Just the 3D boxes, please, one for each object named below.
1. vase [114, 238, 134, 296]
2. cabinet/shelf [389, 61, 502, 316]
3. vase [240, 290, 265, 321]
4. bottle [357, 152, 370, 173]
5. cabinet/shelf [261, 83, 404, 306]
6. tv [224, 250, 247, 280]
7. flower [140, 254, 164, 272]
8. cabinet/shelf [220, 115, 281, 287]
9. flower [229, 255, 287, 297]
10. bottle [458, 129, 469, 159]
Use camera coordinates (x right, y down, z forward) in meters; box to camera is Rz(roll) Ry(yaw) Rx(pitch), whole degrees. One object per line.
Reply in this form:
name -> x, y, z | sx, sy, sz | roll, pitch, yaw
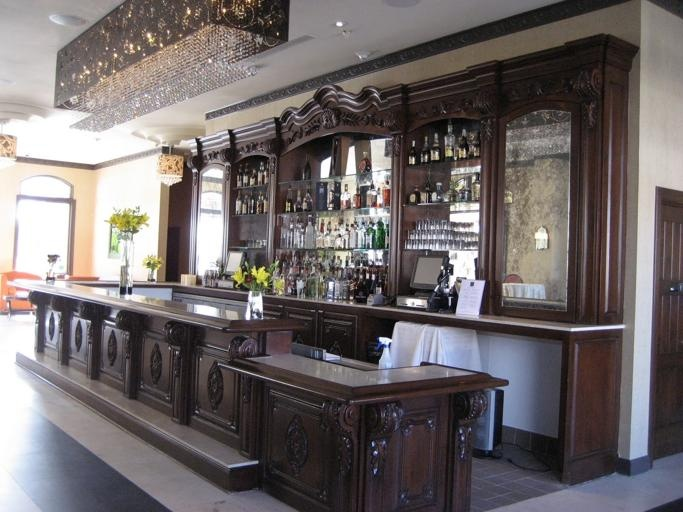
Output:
vase -> -2.664, 0.105, 6.566 | 0.147, 0.701, 0.340 | 0, 2, -24
cabinet/shelf -> 1.182, -0.483, 5.873 | 1.244, 2.849, 0.715 | -5, -20, 32
vase -> -0.752, 0.417, 4.507 | 0.225, 0.416, 0.256 | 0, -2, -10
bottle -> 0.308, -1.214, 6.961 | 0.081, 0.289, 0.233 | -1, 2, -41
cabinet/shelf -> -0.069, -0.723, 7.181 | 2.119, 3.046, 0.539 | 10, 12, 40
tv -> -1.538, 0.145, 7.706 | 0.332, 0.416, 0.230 | 2, -27, 42
flower -> -3.660, 0.142, 10.319 | 0.395, 0.488, 0.438 | -1, 4, -7
cabinet/shelf -> -1.397, -0.740, 8.362 | 1.007, 2.267, 0.450 | -2, -7, 25
flower -> -0.710, 0.216, 4.467 | 0.284, 0.206, 0.289 | 0, -9, 6
bottle -> 1.382, -1.244, 5.935 | 0.134, 0.361, 0.177 | 1, 2, 28
